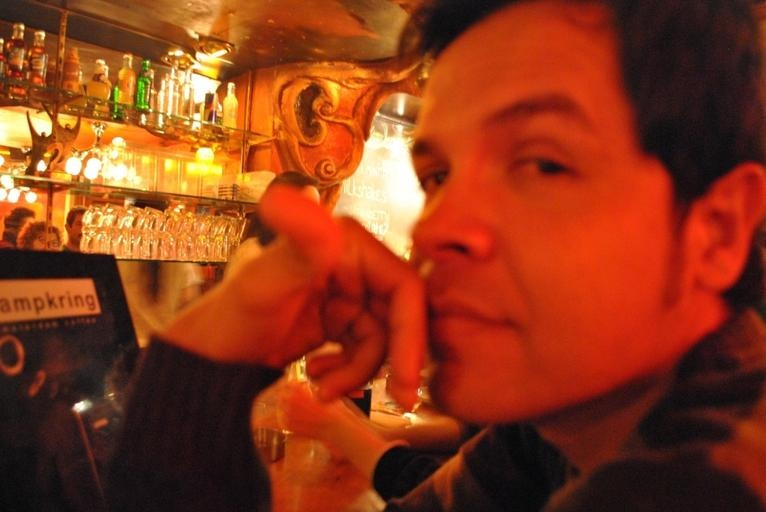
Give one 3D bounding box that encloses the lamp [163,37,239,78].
[{"bbox_3d":[-0.627,-0.676,2.208,0.254,0.102,0.382,17,24,26],"label":"lamp"}]
